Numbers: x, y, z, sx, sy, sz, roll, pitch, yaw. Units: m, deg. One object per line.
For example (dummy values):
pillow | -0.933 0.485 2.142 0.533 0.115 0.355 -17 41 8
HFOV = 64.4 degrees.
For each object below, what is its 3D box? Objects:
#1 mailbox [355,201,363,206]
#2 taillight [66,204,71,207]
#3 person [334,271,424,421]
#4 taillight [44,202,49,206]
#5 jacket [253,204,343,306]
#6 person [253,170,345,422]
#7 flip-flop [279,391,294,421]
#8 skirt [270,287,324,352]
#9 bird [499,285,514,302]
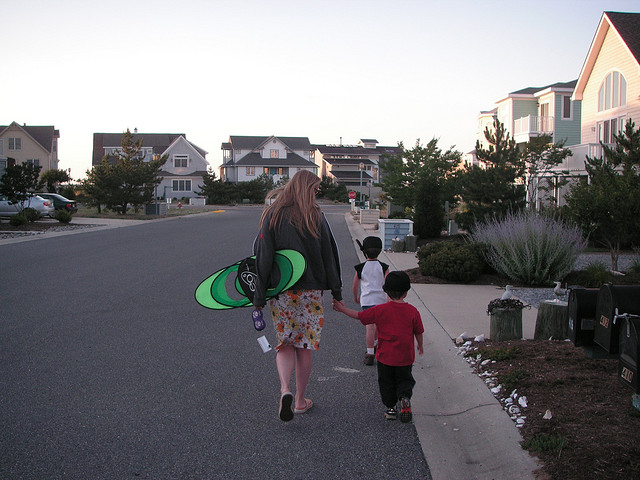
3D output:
mailbox | 3.781 -3.530 49.208 0.686 0.384 2.122 0 6 3
taillight | -19.301 -2.628 39.032 0.154 0.204 0.350 2 6 20
person | 0.594 1.037 4.964 0.809 1.461 0.650 -2 3 6
taillight | -18.591 -2.433 34.546 0.274 0.215 0.065 -2 6 -15
jacket | -0.236 0.065 5.018 0.568 1.220 0.918 0 5 -17
person | -0.210 0.536 4.893 0.863 2.413 0.627 -1 5 -8
flip-flop | -0.317 1.561 4.728 0.122 0.328 0.148 -1 6 -6
skirt | -0.226 0.762 4.869 0.501 0.629 0.149 -1 5 -8
bird | 2.505 0.716 6.878 0.141 0.225 0.327 2 6 19
